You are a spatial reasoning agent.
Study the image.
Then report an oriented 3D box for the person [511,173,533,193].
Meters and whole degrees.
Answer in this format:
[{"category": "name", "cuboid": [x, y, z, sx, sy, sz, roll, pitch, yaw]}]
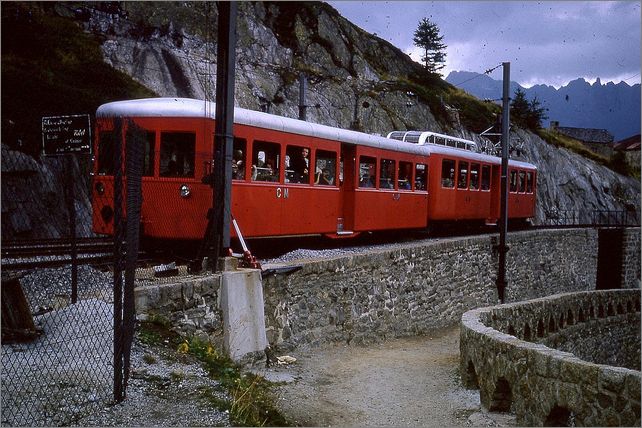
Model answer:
[{"category": "person", "cuboid": [9.793, -1.616, 27.419, 0.744, 1.004, 1.822, 4, 5, 44]}]
